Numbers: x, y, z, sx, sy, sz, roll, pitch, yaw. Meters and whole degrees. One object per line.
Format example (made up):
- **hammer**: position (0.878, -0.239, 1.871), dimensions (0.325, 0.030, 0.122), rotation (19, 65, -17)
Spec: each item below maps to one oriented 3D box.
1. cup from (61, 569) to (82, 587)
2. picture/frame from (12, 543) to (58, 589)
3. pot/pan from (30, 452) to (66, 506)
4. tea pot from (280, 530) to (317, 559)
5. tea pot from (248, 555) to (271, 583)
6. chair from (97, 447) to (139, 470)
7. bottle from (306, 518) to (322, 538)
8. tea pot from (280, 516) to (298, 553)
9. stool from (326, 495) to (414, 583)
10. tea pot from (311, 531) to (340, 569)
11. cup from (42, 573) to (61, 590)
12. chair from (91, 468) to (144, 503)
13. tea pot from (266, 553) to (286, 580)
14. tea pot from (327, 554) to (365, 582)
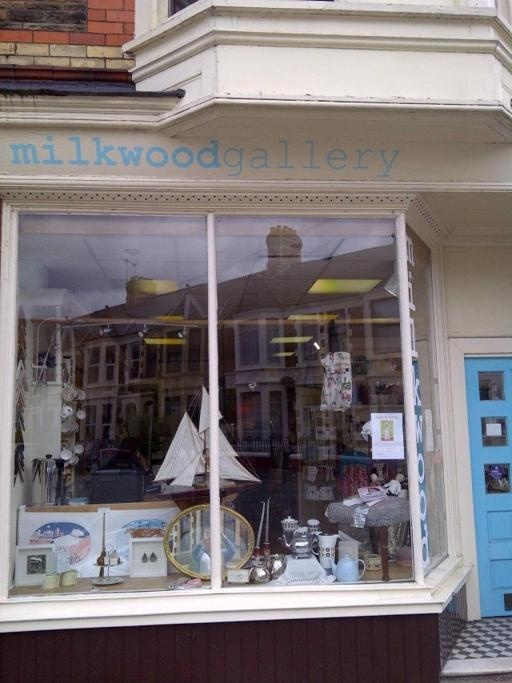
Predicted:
- **cup**: position (-1.223, 1.576, 5.423), dimensions (0.094, 0.092, 0.165), rotation (-7, -12, 25)
- **picture/frame**: position (-1.453, 1.478, 5.337), dimensions (0.026, 0.290, 0.345), rotation (-37, -19, 33)
- **pot/pan**: position (-1.481, 1.004, 5.895), dimensions (0.217, 0.339, 0.324), rotation (-1, -2, 16)
- **tea pot**: position (0.293, 1.390, 5.563), dimensions (0.200, 0.169, 0.141), rotation (-3, -6, 2)
- **tea pot**: position (0.021, 1.508, 5.392), dimensions (0.136, 0.168, 0.144), rotation (-2, -11, 0)
- **chair**: position (-1.115, 0.951, 6.585), dimensions (0.284, 0.149, 0.184), rotation (3, -6, -16)
- **bottle**: position (0.397, 1.296, 5.665), dimensions (0.107, 0.118, 0.089), rotation (11, -20, -38)
- **tea pot**: position (0.219, 1.337, 5.627), dimensions (0.114, 0.182, 0.135), rotation (16, -26, -30)
- **stool**: position (0.732, 1.353, 5.633), dimensions (0.518, 0.447, 0.516), rotation (3, -18, -15)
- **tea pot**: position (0.472, 1.415, 5.562), dimensions (0.218, 0.223, 0.130), rotation (-1, -31, 6)
- **cup**: position (-1.331, 1.569, 5.334), dimensions (0.090, 0.076, 0.084), rotation (2, 2, 0)
- **chair**: position (-1.050, 1.095, 6.202), dimensions (0.362, 0.191, 0.322), rotation (3, 1, 6)
- **tea pot**: position (0.131, 1.498, 5.446), dimensions (0.103, 0.126, 0.131), rotation (0, -23, 2)
- **tea pot**: position (0.617, 1.505, 5.397), dimensions (0.182, 0.119, 0.126), rotation (3, -21, 5)
